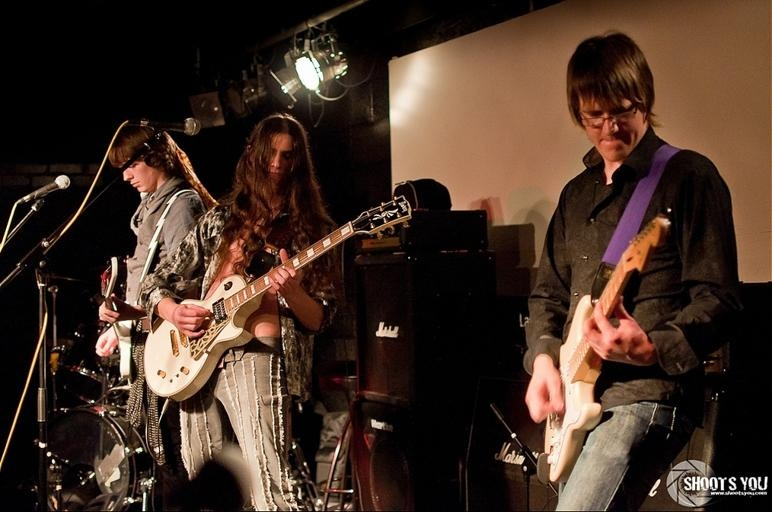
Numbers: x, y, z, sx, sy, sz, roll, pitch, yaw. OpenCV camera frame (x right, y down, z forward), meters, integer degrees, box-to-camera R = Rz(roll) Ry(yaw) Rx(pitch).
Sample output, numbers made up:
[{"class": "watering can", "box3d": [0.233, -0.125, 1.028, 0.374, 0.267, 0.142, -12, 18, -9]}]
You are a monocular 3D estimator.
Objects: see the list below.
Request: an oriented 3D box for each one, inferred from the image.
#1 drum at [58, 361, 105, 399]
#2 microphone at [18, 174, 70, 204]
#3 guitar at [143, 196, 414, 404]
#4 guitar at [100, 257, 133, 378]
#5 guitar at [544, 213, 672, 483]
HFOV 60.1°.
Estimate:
[{"class": "drum", "box3d": [-2.419, 1.013, 5.298, 0.343, 0.289, 0.357, 2, -8, -26]}, {"class": "microphone", "box3d": [-2.231, -0.425, 4.341, 0.237, 0.183, 0.518, 3, -9, -32]}, {"class": "guitar", "box3d": [-0.725, 0.206, 3.887, 1.871, 0.686, 0.162, -34, -36, 14]}, {"class": "guitar", "box3d": [-1.918, 0.468, 4.943, 0.378, 0.861, 0.123, 9, 17, 37]}, {"class": "guitar", "box3d": [1.048, 0.457, 3.088, 0.208, 0.554, 1.427, 10, -49, -4]}]
